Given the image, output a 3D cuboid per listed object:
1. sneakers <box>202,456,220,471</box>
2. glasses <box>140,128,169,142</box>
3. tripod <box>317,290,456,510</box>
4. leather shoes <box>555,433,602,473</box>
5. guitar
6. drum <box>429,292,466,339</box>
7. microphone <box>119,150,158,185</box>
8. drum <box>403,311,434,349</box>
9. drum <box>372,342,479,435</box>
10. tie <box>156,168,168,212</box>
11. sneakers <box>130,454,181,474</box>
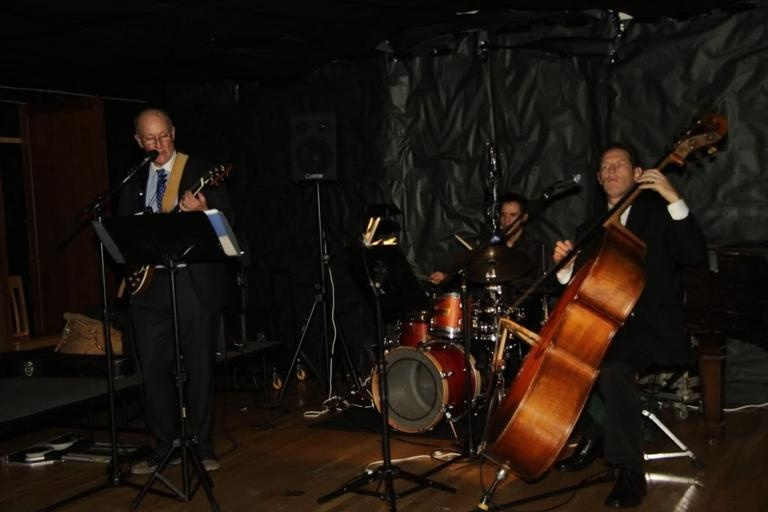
[{"bbox_3d":[-1.394,1.672,5.766,0.156,0.076,0.212,4,-12,-14],"label":"sneakers"},{"bbox_3d":[-1.785,-0.917,5.547,0.250,0.085,0.102,1,7,-6],"label":"glasses"},{"bbox_3d":[0.031,1.027,5.220,1.001,1.617,0.564,1,7,-6],"label":"tripod"},{"bbox_3d":[1.561,1.547,5.675,0.562,0.249,0.169,-11,0,-37],"label":"leather shoes"},{"bbox_3d":[-1.674,-0.213,5.516,0.524,1.400,0.155,14,-20,47],"label":"guitar"},{"bbox_3d":[0.568,0.541,6.406,0.359,0.376,0.348,7,-8,-25],"label":"drum"},{"bbox_3d":[-1.834,-0.656,5.371,0.267,0.243,0.436,-1,7,-19],"label":"microphone"},{"bbox_3d":[0.277,0.670,6.527,0.294,0.303,0.302,3,2,16],"label":"drum"},{"bbox_3d":[0.351,1.132,6.434,0.917,0.888,0.704,5,7,37],"label":"drum"},{"bbox_3d":[-1.749,-0.530,5.633,0.063,0.261,0.199,0,-7,-16],"label":"tie"},{"bbox_3d":[-1.859,1.709,5.889,0.398,0.157,0.146,5,-8,-17],"label":"sneakers"}]
